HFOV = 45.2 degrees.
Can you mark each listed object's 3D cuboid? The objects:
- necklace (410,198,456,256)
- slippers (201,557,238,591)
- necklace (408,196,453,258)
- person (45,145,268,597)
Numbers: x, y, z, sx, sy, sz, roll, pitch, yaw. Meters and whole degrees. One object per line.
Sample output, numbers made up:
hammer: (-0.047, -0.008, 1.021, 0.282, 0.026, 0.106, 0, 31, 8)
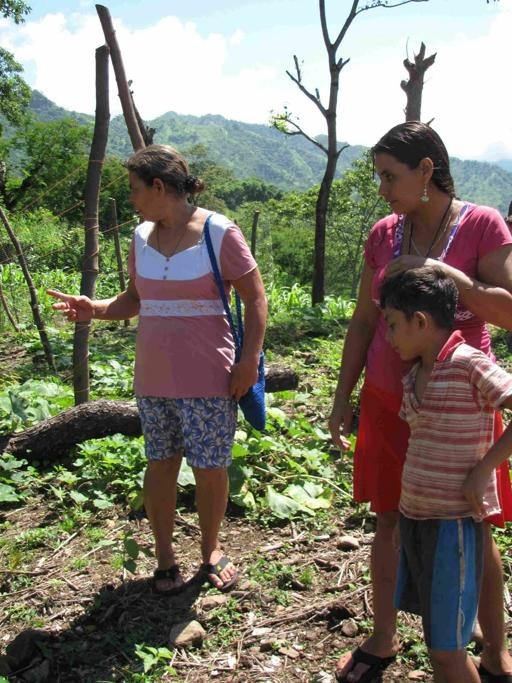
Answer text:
necklace: (0.555, -0.343, 1.937, 0.152, 0.168, 0.067, -5, -9, -3)
slippers: (-0.164, 0.997, 2.646, 0.090, 0.045, 0.166, -28, 29, -30)
necklace: (0.545, -0.362, 1.937, 0.121, 0.182, 0.054, 5, 17, 42)
person: (-0.354, 0.120, 2.594, 0.727, 1.818, 0.422, 14, 19, 40)
